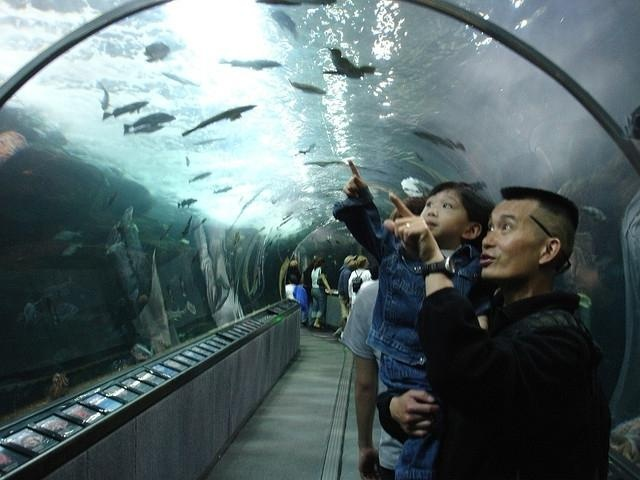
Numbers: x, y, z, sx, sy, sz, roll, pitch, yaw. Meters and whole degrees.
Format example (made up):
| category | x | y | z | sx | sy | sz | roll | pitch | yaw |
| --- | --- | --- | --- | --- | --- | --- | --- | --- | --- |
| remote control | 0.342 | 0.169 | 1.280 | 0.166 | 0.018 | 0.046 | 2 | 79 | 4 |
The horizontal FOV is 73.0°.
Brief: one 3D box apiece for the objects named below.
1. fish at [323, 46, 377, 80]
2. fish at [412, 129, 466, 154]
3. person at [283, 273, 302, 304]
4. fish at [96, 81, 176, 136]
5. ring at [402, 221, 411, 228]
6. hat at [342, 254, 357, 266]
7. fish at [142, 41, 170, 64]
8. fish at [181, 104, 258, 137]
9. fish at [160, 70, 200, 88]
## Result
| category | x | y | z | sx | sy | sz | roll | pitch | yaw |
| --- | --- | --- | --- | --- | --- | --- | --- | --- | --- |
| fish | 0.360 | -2.115 | 5.244 | 0.581 | 0.190 | 0.435 | 1 | -3 | -11 |
| fish | 1.665 | -1.396 | 6.029 | 0.756 | 0.104 | 0.287 | 7 | 21 | -16 |
| person | -1.152 | 1.630 | 15.660 | 0.500 | 1.241 | 0.878 | 8 | 2 | 35 |
| fish | -2.207 | -1.651 | 5.492 | 1.220 | 0.233 | 0.574 | -7 | -40 | -45 |
| ring | 0.456 | -0.081 | 2.301 | 0.038 | 0.021 | 0.027 | 12 | 10 | 35 |
| hat | 0.865 | 0.598 | 12.900 | 0.256 | 0.195 | 0.628 | -3 | -17 | -12 |
| fish | -1.791 | -2.063 | 4.758 | 0.254 | 0.147 | 0.184 | 0 | -2 | 11 |
| fish | -1.400 | -1.645 | 5.881 | 0.606 | 0.128 | 0.222 | -22 | -10 | -1 |
| fish | -1.659 | -1.902 | 5.126 | 0.569 | 0.099 | 0.022 | 8 | 10 | -34 |
